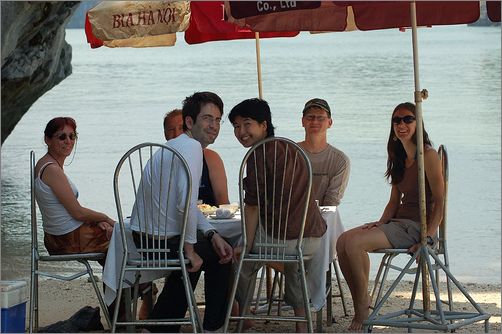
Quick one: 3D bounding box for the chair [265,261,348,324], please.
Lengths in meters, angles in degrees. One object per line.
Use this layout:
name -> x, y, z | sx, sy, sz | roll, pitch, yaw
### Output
chair -> 1.323, 2.954, 26.713 | 1.682, 1.700, 1.441 | -3, -12, 16

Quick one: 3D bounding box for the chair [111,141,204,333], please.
chair -> -2.160, 1.617, 25.846 | 1.992, 4.355, 0.987 | -2, 5, -4
